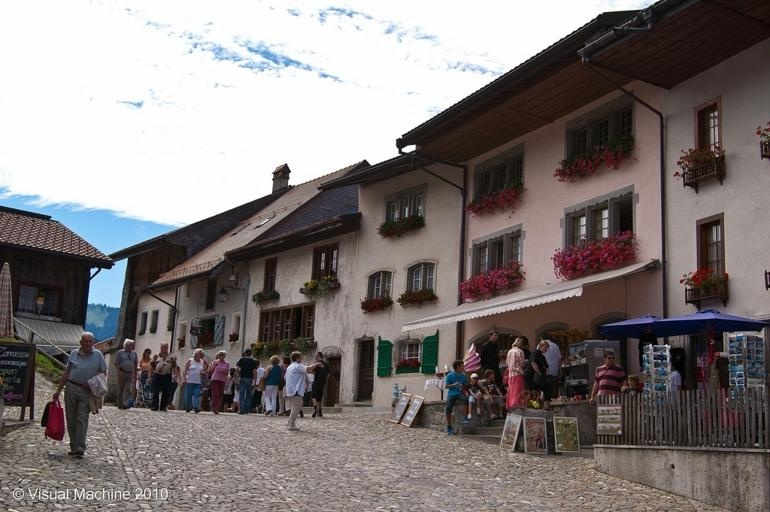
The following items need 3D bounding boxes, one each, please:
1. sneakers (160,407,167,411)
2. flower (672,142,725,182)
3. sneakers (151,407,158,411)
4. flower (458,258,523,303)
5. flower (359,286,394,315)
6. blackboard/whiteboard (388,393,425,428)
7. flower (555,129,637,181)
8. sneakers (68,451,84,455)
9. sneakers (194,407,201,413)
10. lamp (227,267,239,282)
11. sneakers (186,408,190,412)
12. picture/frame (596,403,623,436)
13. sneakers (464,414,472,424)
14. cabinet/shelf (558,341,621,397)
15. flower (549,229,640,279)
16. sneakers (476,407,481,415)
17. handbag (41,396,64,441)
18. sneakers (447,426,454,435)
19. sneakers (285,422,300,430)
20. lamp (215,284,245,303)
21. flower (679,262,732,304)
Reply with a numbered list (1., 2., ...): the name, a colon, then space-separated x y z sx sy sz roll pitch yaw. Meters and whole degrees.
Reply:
1. sneakers: -7.057 4.847 21.406 0.166 0.055 0.159 0 -3 0
2. flower: 8.884 -2.629 18.961 0.500 1.112 1.301 1 -5 -32
3. sneakers: -7.326 4.848 21.425 0.202 0.081 0.316 7 -16 -19
4. flower: 3.962 0.940 24.763 0.375 1.189 2.671 16 -21 -38
5. flower: -0.310 2.081 29.690 0.999 0.615 1.232 -4 -4 -24
6. blackboard/whiteboard: 0.688 4.902 21.360 0.180 1.108 1.724 24 -21 -12
7. flower: 6.877 -3.095 21.945 0.433 0.880 2.772 13 -19 -32
8. sneakers: -5.859 3.718 12.747 0.394 0.101 0.141 -7 -18 28
9. sneakers: -6.052 4.963 21.736 0.169 0.097 0.140 4 -20 0
10. lamp: -8.646 1.093 38.440 0.780 0.729 0.708 -2 -10 12
11. sneakers: -6.463 5.082 22.188 0.139 0.122 0.078 -1 -38 4
12. picture/frame: 4.981 3.608 14.889 0.078 0.714 0.750 18 -17 -17
13. sneakers: 2.355 4.627 19.135 0.196 0.231 0.159 -1 -17 11
14. cabinet/shelf: 5.548 3.037 18.134 0.959 1.419 1.634 4 -14 -2
15. flower: 6.477 0.004 21.347 1.364 0.818 2.902 -8 -4 -35
16. sneakers: 2.702 4.415 19.368 0.148 0.171 0.047 14 -20 -35
17. handbag: -6.334 3.090 12.900 0.423 0.799 1.024 10 -18 -24
18. sneakers: 1.867 4.933 19.162 0.186 0.234 0.162 5 -17 -10
19. sneakers: -2.510 4.678 18.574 0.460 0.276 0.147 1 -1 -18
20. lamp: -8.879 2.121 37.788 1.895 1.057 0.823 13 -18 -39
21. flower: 8.766 0.744 18.298 0.387 0.929 1.069 13 -17 -31
